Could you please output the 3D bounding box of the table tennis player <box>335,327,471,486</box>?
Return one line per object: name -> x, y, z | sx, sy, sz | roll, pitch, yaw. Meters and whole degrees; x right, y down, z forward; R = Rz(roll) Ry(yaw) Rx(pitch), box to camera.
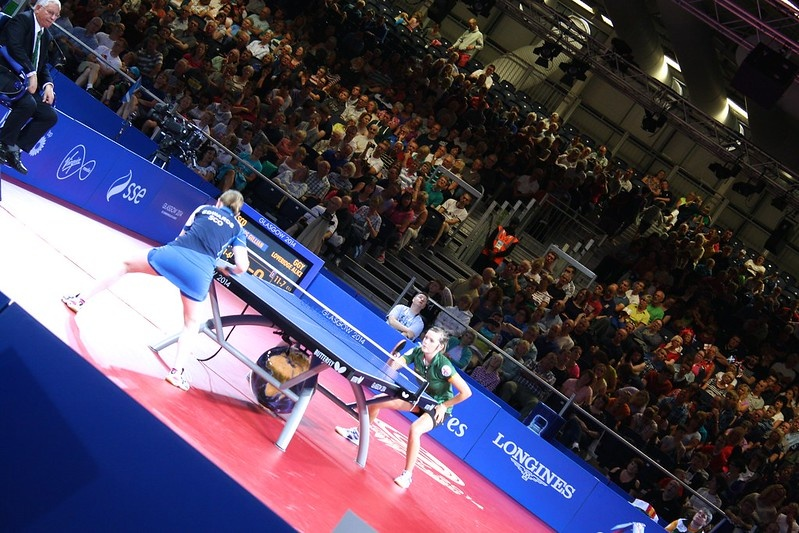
table tennis player -> 0.039, 2.419, 11.733 | 1.673, 2.419, 1.697 | 18, 14, -43
